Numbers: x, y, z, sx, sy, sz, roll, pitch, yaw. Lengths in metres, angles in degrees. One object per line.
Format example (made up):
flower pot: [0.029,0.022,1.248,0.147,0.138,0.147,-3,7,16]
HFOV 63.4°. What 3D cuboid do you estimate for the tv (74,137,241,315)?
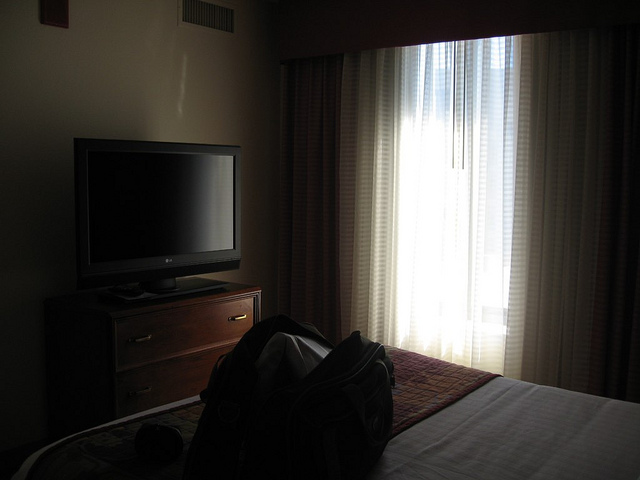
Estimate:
tv: [-0.981,-0.091,3.296,1.051,1.009,0.286,-6,15,-38]

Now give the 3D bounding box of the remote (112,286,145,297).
remote: [-1.122,0.297,3.053,0.132,0.029,0.071,10,8,39]

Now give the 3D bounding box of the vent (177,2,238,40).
vent: [-0.815,-1.666,3.853,0.024,0.249,0.547,8,13,39]
